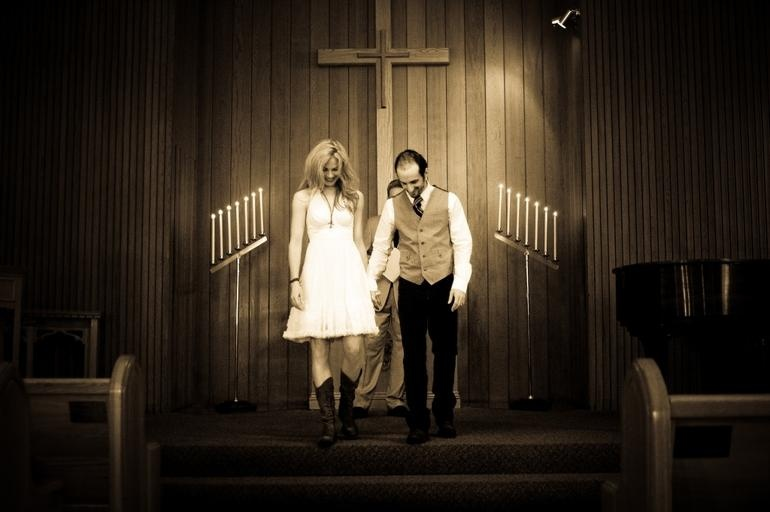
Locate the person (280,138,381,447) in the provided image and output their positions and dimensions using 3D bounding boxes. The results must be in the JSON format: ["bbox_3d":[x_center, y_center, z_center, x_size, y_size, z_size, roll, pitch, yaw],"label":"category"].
[{"bbox_3d":[-0.423,0.249,6.165,0.675,2.252,0.489,0,0,-9],"label":"person"}]

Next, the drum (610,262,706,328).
[{"bbox_3d":[2.098,0.295,6.284,0.465,0.388,0.504,-1,-5,0],"label":"drum"}]

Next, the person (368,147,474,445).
[{"bbox_3d":[0.265,0.283,6.111,0.753,2.148,0.329,-1,0,6],"label":"person"}]

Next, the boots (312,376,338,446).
[{"bbox_3d":[-0.438,1.129,6.019,0.134,0.502,0.225,0,0,-3],"label":"boots"}]
